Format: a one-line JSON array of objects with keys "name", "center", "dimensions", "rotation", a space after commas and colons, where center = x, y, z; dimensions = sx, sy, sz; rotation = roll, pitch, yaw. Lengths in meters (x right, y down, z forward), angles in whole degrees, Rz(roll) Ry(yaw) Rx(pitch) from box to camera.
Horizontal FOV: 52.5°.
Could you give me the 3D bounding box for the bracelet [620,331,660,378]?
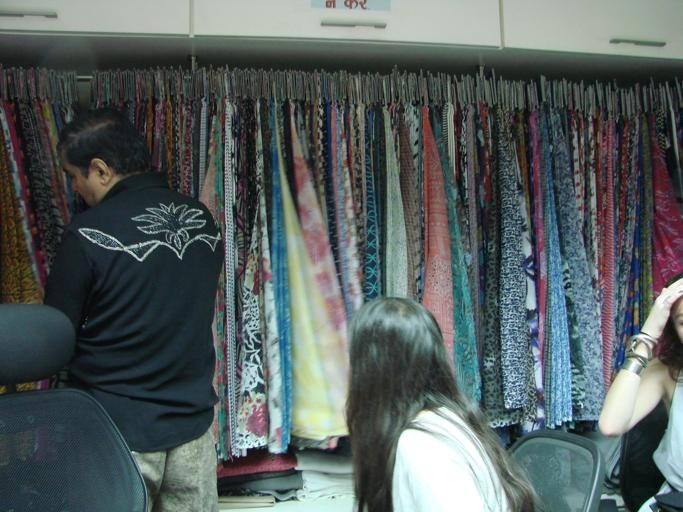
[{"name": "bracelet", "center": [1.021, 0.330, 2.374], "dimensions": [0.111, 0.156, 0.086], "rotation": [-3, 0, 26]}]
